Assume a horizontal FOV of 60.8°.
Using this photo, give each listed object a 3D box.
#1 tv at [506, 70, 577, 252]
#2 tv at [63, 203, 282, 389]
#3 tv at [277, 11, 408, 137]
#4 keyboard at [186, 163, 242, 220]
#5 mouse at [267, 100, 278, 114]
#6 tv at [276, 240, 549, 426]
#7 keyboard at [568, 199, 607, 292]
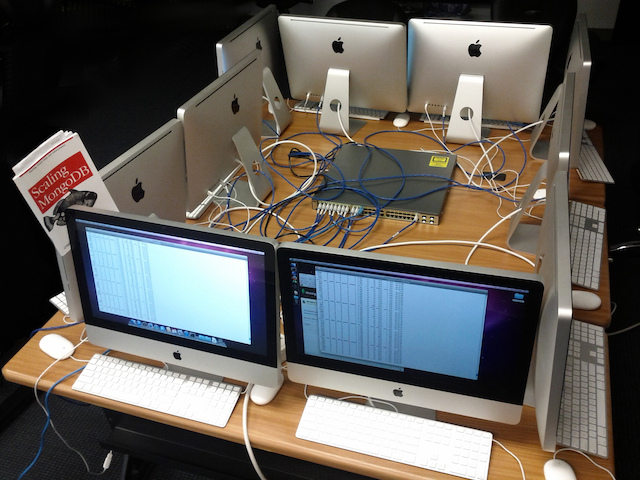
[{"bbox_3d":[0.965,-0.341,2.399,0.221,0.664,0.679,3,60,15],"label":"tv"},{"bbox_3d":[-0.502,0.211,1.785,0.548,0.454,0.172,8,34,13],"label":"tv"},{"bbox_3d":[0.124,-0.882,2.976,0.670,0.620,0.300,7,48,12],"label":"tv"},{"bbox_3d":[-0.496,-0.214,2.495,0.052,0.045,0.330,18,53,21],"label":"keyboard"},{"bbox_3d":[-0.269,-0.743,3.030,0.045,0.076,0.078,2,79,4],"label":"mouse"},{"bbox_3d":[0.264,0.310,1.655,0.550,0.419,0.137,8,39,14],"label":"tv"},{"bbox_3d":[1.120,0.033,2.287,0.134,0.067,0.492,3,51,18],"label":"keyboard"}]
